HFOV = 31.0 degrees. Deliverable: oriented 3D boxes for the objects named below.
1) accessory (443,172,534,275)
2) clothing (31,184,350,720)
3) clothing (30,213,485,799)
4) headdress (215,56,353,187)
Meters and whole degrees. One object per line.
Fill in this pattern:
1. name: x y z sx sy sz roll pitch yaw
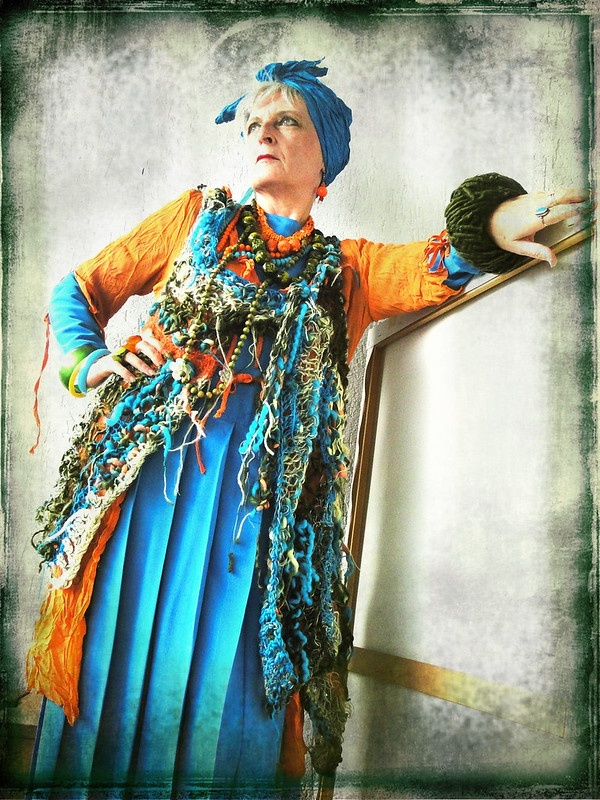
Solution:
1. accessory: 0.306 -0.289 1.796 0.172 0.150 0.073 0 4 -17
2. clothing: -0.099 0.107 1.932 0.613 0.792 0.251 7 -10 18
3. clothing: -0.116 0.155 1.853 0.581 0.913 0.228 6 -1 -21
4. headdress: 0.011 -0.516 1.941 0.256 0.186 0.120 -10 16 38
